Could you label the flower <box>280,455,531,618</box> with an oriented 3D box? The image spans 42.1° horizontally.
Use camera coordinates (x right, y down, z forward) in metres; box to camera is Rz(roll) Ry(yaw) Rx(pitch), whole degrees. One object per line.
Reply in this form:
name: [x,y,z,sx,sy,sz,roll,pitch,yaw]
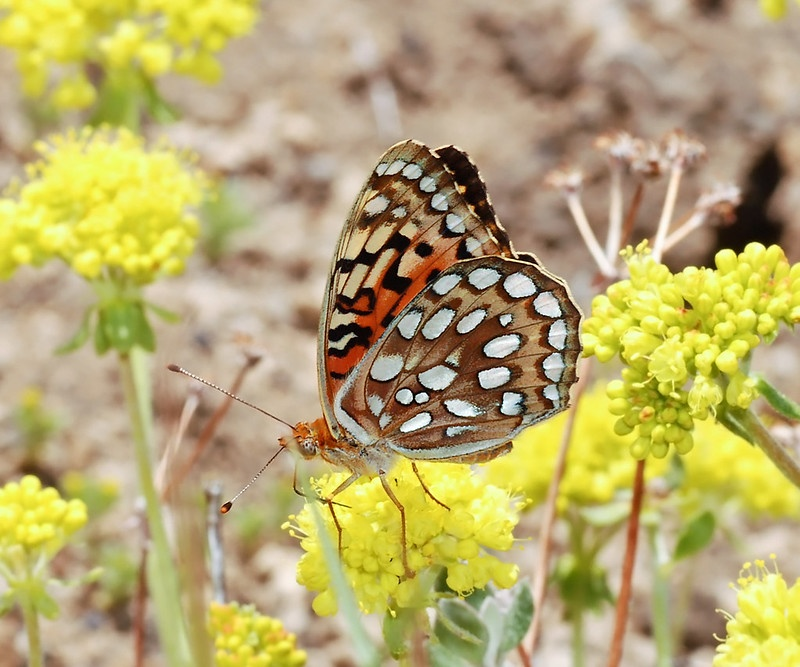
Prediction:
flower: [0.055,0.715,3.729,0.658,0.625,0.189,15,-42,32]
